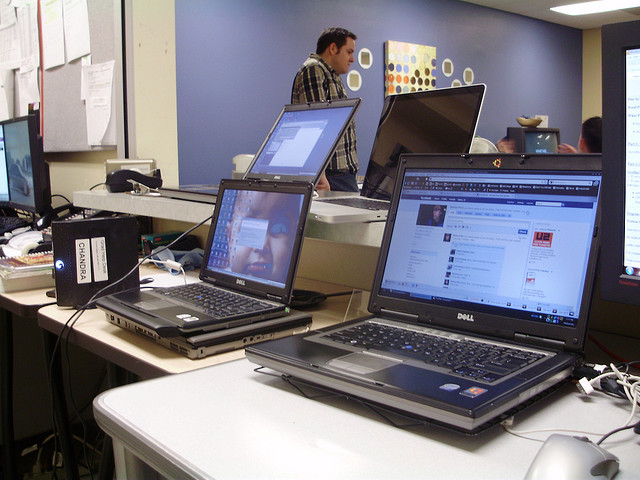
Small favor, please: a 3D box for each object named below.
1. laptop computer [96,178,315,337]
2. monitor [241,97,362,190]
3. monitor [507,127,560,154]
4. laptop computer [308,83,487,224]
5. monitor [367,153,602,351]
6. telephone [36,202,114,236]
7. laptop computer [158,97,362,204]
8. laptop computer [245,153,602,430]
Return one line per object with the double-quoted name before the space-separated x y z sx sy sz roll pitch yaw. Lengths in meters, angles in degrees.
"laptop computer" -0.249 0.010 1.077 0.414 0.259 0.419 -7 9 -27
"monitor" -0.058 -0.265 1.345 0.139 0.226 0.349 -5 12 -37
"monitor" 1.145 -0.529 2.594 0.295 0.122 0.286 1 13 5
"laptop computer" 0.117 -0.221 1.233 0.513 0.292 0.479 -5 10 -10
"monitor" 0.254 0.013 0.853 0.263 0.289 0.442 -16 13 -37
"telephone" -0.810 -0.073 1.634 0.137 0.061 0.193 7 9 44
"laptop computer" -0.172 -0.250 1.291 0.479 0.234 0.483 -1 13 -14
"laptop computer" 0.166 0.037 0.796 0.417 0.310 0.470 -11 10 -43
